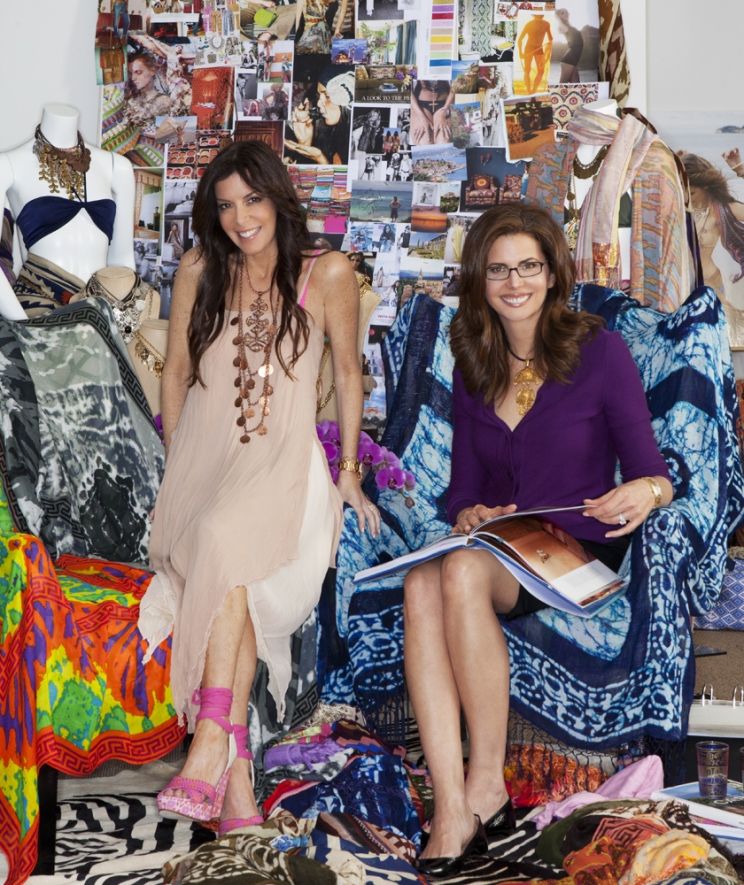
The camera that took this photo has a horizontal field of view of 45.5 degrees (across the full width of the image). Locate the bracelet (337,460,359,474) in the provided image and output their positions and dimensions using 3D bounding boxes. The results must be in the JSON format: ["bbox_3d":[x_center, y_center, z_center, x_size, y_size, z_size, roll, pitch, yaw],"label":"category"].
[{"bbox_3d":[-0.055,0.057,2.034,0.012,0.030,0.034,-30,-24,31],"label":"bracelet"}]

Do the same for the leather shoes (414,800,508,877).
[{"bbox_3d":[0.157,0.653,1.474,0.059,0.053,0.182,-19,-5,31],"label":"leather shoes"}]

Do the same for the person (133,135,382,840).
[{"bbox_3d":[-0.214,-0.011,1.755,0.501,1.218,0.872,-2,11,-10],"label":"person"}]

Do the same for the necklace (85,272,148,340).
[{"bbox_3d":[-0.811,-0.458,2.895,0.208,0.253,0.148,-5,51,-5],"label":"necklace"}]

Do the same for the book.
[{"bbox_3d":[0.234,0.204,1.712,0.436,0.164,0.270,5,11,28],"label":"book"}]

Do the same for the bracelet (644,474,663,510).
[{"bbox_3d":[0.548,0.103,1.722,0.020,0.050,0.038,-9,13,-15],"label":"bracelet"}]
